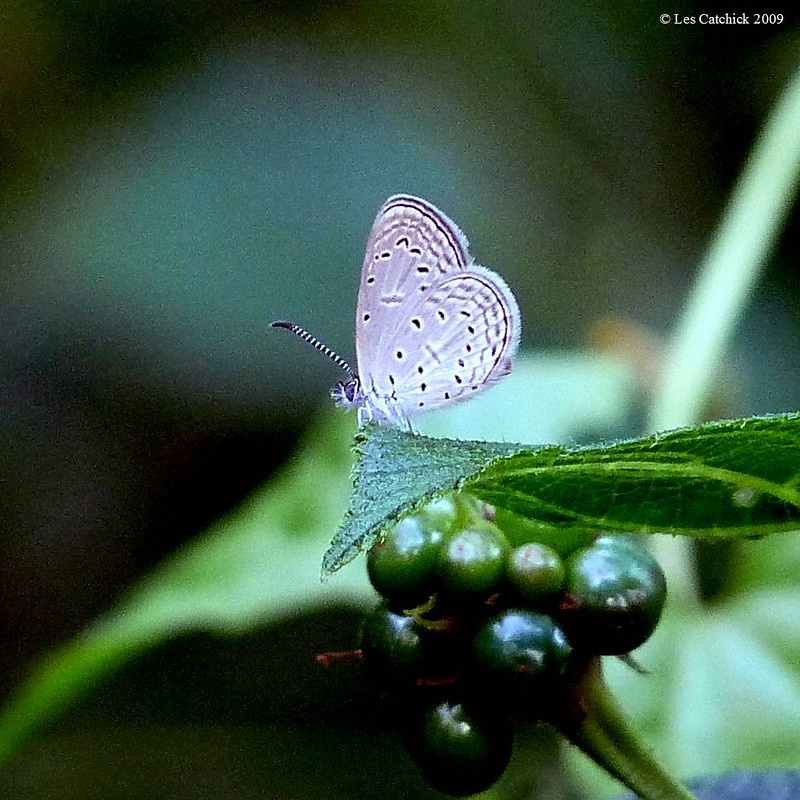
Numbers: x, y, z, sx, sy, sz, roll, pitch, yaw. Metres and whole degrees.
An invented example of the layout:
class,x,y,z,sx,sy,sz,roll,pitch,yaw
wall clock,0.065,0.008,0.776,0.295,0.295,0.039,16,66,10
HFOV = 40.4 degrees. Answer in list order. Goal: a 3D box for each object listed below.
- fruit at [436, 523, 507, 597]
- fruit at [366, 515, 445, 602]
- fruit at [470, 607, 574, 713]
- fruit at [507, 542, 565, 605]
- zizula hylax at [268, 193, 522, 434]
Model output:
class,x,y,z,sx,sy,sz,roll,pitch,yaw
fruit,0.050,0.109,0.739,0.050,0.020,0.046,-16,79,-1
fruit,0.004,0.106,0.751,0.045,0.022,0.064,18,81,5
fruit,0.081,0.174,0.741,0.066,0.036,0.062,11,79,4
fruit,0.092,0.118,0.741,0.029,0.021,0.043,-1,96,-1
zizula hylax,-0.018,-0.080,1.254,0.238,0.307,0.250,-9,91,-13
